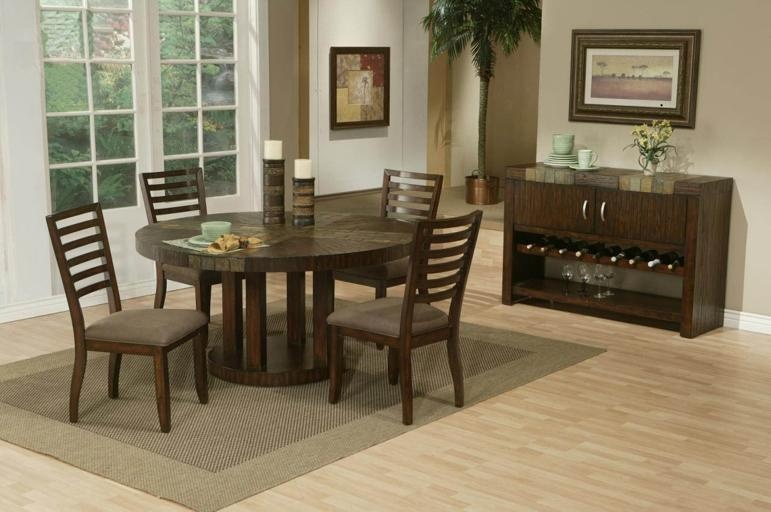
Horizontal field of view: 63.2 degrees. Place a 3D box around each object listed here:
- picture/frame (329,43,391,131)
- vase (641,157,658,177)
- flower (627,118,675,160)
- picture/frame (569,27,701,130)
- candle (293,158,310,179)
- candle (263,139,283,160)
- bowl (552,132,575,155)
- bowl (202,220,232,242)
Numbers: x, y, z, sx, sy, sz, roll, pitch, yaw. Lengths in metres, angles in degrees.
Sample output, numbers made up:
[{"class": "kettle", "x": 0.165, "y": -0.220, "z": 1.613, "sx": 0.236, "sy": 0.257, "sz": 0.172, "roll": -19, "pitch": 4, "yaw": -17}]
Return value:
[{"class": "picture/frame", "x": -0.342, "y": -2.228, "z": 8.264, "sx": 1.005, "sy": 1.083, "sz": 0.255, "roll": -13, "pitch": 21, "yaw": -43}, {"class": "vase", "x": 2.069, "y": -0.707, "z": 4.965, "sx": 0.195, "sy": 0.129, "sz": 0.194, "roll": 3, "pitch": 4, "yaw": 31}, {"class": "flower", "x": 2.104, "y": -0.935, "z": 5.011, "sx": 0.342, "sy": 0.319, "sz": 0.355, "roll": 9, "pitch": 16, "yaw": 29}, {"class": "picture/frame", "x": 2.059, "y": -1.457, "z": 5.076, "sx": 1.139, "sy": 0.648, "sz": 0.051, "roll": 9, "pitch": 17, "yaw": 34}, {"class": "candle", "x": -0.517, "y": -0.554, "z": 3.916, "sx": 0.145, "sy": 0.102, "sz": 0.121, "roll": 0, "pitch": 4, "yaw": -11}, {"class": "candle", "x": -0.711, "y": -0.669, "z": 3.940, "sx": 0.106, "sy": 0.116, "sz": 0.195, "roll": -1, "pitch": 13, "yaw": -6}, {"class": "bowl", "x": 1.508, "y": -0.953, "z": 5.284, "sx": 0.220, "sy": 0.136, "sz": 0.191, "roll": 0, "pitch": 5, "yaw": -2}, {"class": "bowl", "x": -0.972, "y": -0.147, "z": 3.562, "sx": 0.161, "sy": 0.077, "sz": 0.140, "roll": 3, "pitch": 7, "yaw": 23}]
